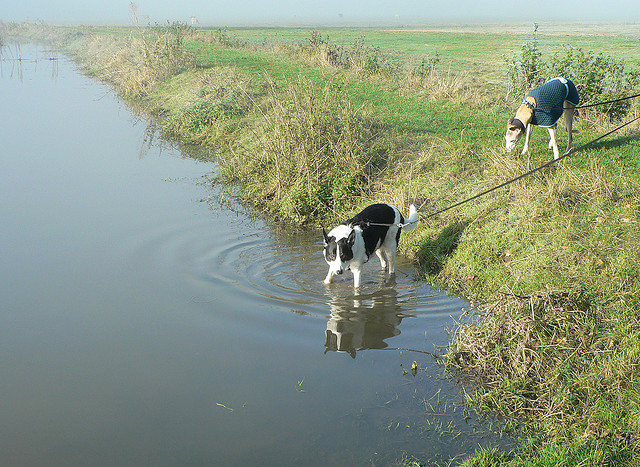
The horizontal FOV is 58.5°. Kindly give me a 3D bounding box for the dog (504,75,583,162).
[{"bbox_3d":[5.560,-2.795,14.355,2.740,1.685,0.989,-33,39,-20],"label":"dog"}]

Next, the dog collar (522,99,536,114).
[{"bbox_3d":[5.151,-3.217,14.133,0.111,0.100,0.388,-9,34,-4],"label":"dog collar"}]

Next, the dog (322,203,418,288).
[{"bbox_3d":[0.987,0.282,12.163,0.723,1.786,3.047,16,27,31],"label":"dog"}]
